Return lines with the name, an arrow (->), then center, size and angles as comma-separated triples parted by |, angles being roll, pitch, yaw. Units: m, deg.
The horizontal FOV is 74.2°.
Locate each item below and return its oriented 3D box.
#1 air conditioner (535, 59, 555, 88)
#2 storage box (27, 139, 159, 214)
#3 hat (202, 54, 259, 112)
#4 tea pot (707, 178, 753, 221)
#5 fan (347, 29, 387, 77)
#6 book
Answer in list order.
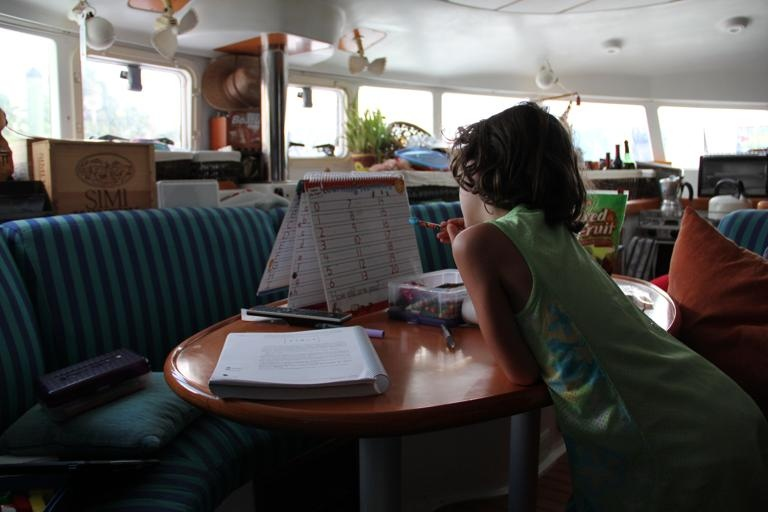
air conditioner -> 1.992, -2.246, 6.236 | 0.186, 0.346, 0.680 | 1, 11, 17
storage box -> -1.316, -0.361, 2.536 | 0.511, 0.371, 0.354 | 1, 5, 2
hat -> -1.372, -1.629, 4.744 | 0.680, 0.514, 0.258 | 1, 11, 20
tea pot -> 2.619, -0.438, 3.858 | 0.265, 0.291, 0.272 | -6, 12, 1
fan -> -0.174, -1.706, 4.239 | 0.382, 0.418, 0.055 | 10, 49, 23
book -> -0.190, 0.248, 1.208 | 0.394, 0.087, 0.249 | -3, 11, -2
